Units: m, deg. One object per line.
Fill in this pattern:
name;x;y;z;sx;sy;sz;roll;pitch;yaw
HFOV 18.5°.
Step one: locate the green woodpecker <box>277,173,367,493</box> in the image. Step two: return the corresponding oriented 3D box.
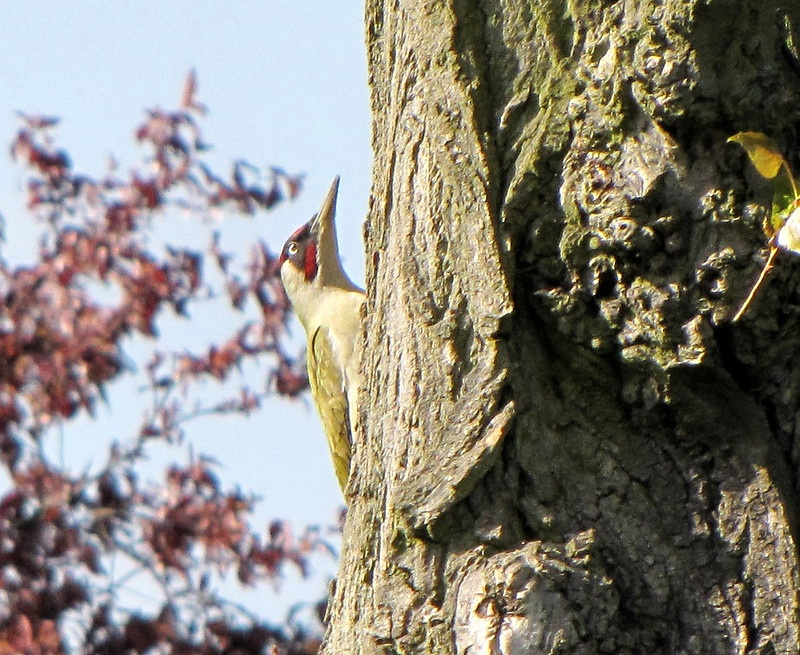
green woodpecker;-0.296;0.045;10.118;0.335;0.499;1.316;-6;-72;-1
